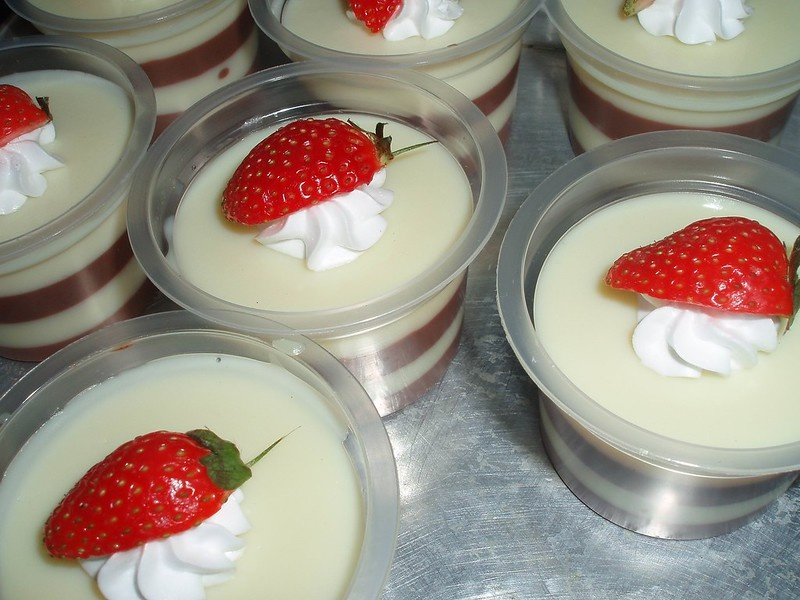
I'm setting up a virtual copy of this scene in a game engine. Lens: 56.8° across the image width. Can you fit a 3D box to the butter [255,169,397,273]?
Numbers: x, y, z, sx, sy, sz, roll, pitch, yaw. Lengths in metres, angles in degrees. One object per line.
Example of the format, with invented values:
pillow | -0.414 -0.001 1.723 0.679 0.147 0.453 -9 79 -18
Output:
butter | -0.187 -0.193 1.691 0.263 0.240 0.082 -11 63 54
